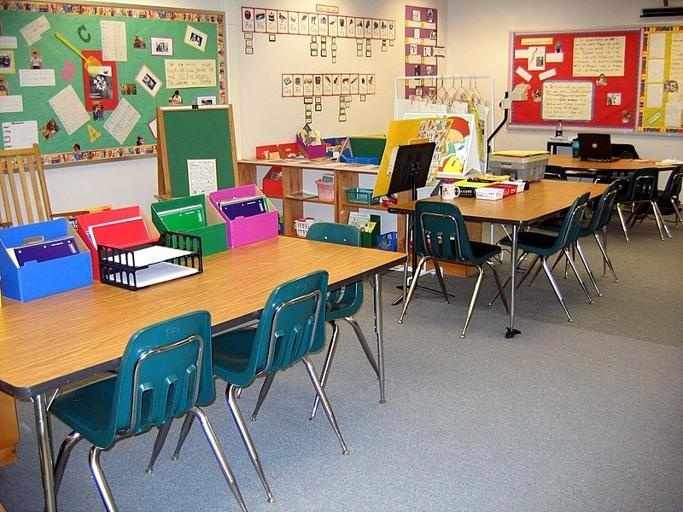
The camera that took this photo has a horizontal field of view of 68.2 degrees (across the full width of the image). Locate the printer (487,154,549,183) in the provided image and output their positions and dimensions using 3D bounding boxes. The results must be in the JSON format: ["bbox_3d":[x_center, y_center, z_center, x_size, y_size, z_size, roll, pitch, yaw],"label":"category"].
[{"bbox_3d":[1.906,-0.950,5.384,0.375,0.283,0.460,8,16,35],"label":"printer"}]

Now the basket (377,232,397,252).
[{"bbox_3d":[0.494,-0.148,5.523,0.241,0.174,0.165,4,8,38],"label":"basket"}]

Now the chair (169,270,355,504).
[{"bbox_3d":[-0.421,0.689,2.580,0.757,1.152,0.653,18,23,33],"label":"chair"}]

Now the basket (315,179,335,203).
[{"bbox_3d":[-0.187,-0.720,5.699,0.083,0.239,0.269,-15,24,-40],"label":"basket"}]

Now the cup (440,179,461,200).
[{"bbox_3d":[1.025,-0.596,4.743,0.198,0.153,0.130,4,10,33],"label":"cup"}]

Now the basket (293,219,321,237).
[{"bbox_3d":[-0.447,-0.323,5.695,0.357,0.211,0.266,2,4,44],"label":"basket"}]

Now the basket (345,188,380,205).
[{"bbox_3d":[0.211,-0.648,5.522,0.301,0.127,0.204,7,13,33],"label":"basket"}]

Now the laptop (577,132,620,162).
[{"bbox_3d":[3.563,-1.528,7.040,0.481,0.479,0.395,10,18,41],"label":"laptop"}]
